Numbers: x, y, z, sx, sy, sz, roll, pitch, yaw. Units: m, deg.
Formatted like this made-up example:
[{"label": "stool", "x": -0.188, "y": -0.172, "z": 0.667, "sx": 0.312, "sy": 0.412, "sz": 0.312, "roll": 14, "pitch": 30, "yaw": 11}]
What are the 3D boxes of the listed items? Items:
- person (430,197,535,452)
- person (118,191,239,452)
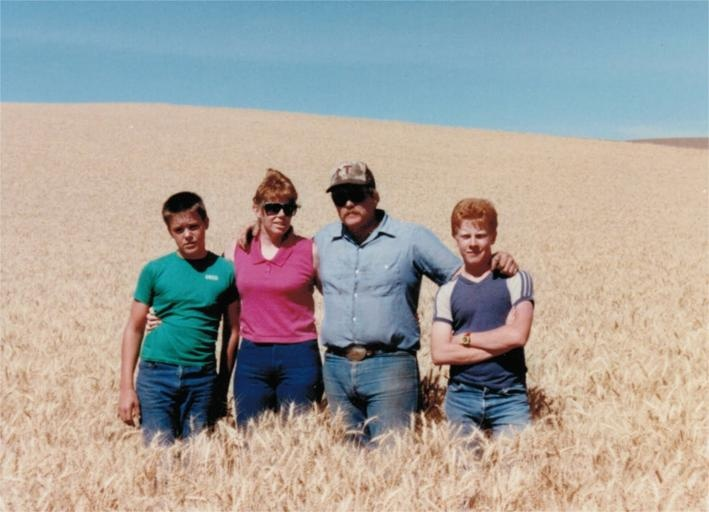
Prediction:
[{"label": "person", "x": 1.554, "y": 1.443, "z": 10.508, "sx": 0.979, "sy": 4.375, "sz": 0.853, "roll": -1, "pitch": 8, "yaw": 20}, {"label": "person", "x": -2.168, "y": 1.463, "z": 10.621, "sx": 1.289, "sy": 4.672, "sz": 0.834, "roll": 7, "pitch": -23, "yaw": -21}]
